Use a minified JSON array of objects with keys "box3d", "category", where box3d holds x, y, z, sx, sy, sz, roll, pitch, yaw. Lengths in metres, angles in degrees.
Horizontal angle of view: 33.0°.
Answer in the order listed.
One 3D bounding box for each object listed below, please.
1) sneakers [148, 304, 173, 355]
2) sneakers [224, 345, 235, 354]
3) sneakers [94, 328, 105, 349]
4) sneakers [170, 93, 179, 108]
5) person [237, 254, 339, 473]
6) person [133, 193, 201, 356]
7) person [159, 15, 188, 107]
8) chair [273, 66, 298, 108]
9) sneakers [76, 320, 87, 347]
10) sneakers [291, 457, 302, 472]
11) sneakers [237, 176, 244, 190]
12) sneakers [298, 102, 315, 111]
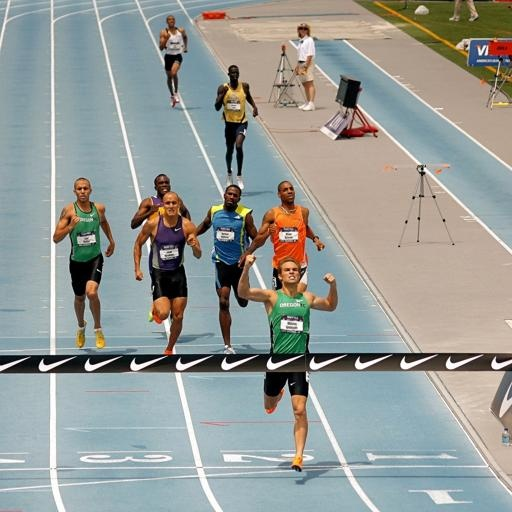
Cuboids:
[{"box3d":[-1.095,0.851,9.948,0.271,0.570,0.202,11,14,38],"category":"sneakers"},{"box3d":[-0.288,1.030,9.557,0.077,0.077,0.203,1,-6,-1],"category":"sneakers"},{"box3d":[-1.808,0.932,9.960,0.103,0.112,0.266,-5,32,-10],"category":"sneakers"},{"box3d":[-2.036,-3.885,21.849,0.152,0.151,0.385,-5,-15,-14],"category":"sneakers"},{"box3d":[0.327,0.943,7.350,0.819,1.968,1.089,-5,19,5],"category":"person"},{"box3d":[-0.907,0.268,9.346,0.724,1.972,1.242,-8,19,-5],"category":"person"},{"box3d":[-1.986,-4.854,21.626,0.657,2.217,1.389,-7,19,-3],"category":"person"},{"box3d":[0.809,-4.381,22.423,0.738,0.699,0.710,10,33,30],"category":"chair"},{"box3d":[-2.007,0.894,9.978,0.119,0.287,0.139,-2,4,-4],"category":"sneakers"},{"box3d":[0.334,1.673,6.942,0.074,0.165,0.109,-2,19,11],"category":"sneakers"},{"box3d":[-0.275,-1.356,15.931,0.108,0.270,0.113,-8,-25,-5],"category":"sneakers"},{"box3d":[1.305,-3.776,21.833,0.299,0.094,0.284,-14,15,-5],"category":"sneakers"}]
